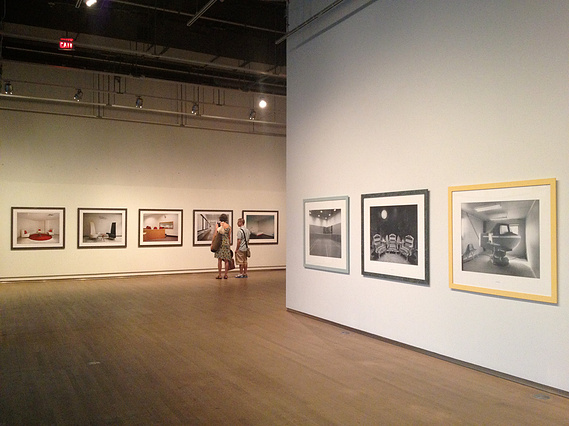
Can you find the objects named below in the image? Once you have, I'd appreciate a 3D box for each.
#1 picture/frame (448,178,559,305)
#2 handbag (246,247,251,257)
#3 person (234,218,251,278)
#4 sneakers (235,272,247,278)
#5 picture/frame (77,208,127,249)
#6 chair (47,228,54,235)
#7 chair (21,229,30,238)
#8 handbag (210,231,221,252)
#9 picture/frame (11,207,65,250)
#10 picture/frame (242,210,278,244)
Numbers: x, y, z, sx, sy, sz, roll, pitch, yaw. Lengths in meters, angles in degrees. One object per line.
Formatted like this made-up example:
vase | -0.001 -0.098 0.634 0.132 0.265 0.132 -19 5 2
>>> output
picture/frame | 2.810 0.362 5.191 0.070 2.059 1.501 1 -1 -43
handbag | -1.135 1.275 13.405 0.179 0.259 0.254 0 -4 -16
person | -1.405 1.127 13.636 0.470 1.902 1.204 0 1 -7
sneakers | -1.317 1.984 13.320 0.144 0.182 0.430 -3 -11 24
picture/frame | -5.831 0.481 12.977 1.128 1.278 0.039 1 -6 -27
chair | -7.054 0.549 12.402 0.136 0.221 0.167 2 0 -23
chair | -7.623 0.611 12.097 0.176 0.251 0.167 0 -1 40
handbag | -2.197 0.919 13.122 0.336 0.677 0.189 0 1 22
picture/frame | -7.405 0.466 12.220 1.141 1.293 0.040 1 -4 -28
picture/frame | -0.953 0.526 15.048 1.105 1.093 0.043 1 -7 -27
